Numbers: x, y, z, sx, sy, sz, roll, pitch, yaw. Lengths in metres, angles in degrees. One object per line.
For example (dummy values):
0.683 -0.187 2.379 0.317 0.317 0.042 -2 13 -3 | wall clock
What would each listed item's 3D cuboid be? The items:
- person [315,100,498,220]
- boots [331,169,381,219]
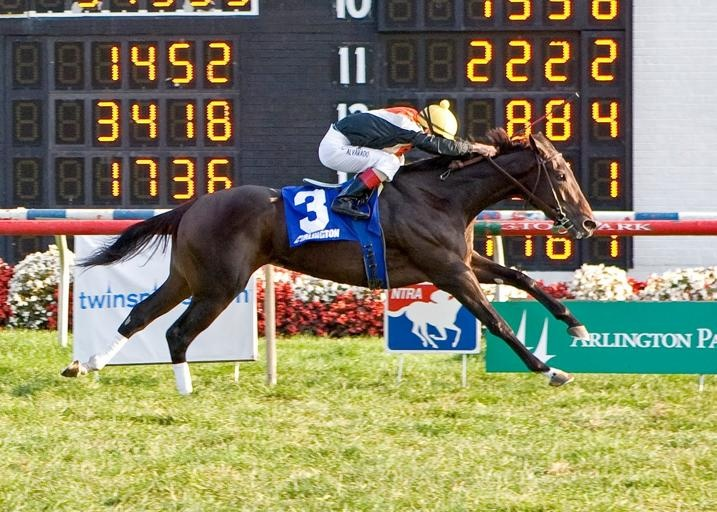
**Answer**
0.404 -0.740 10.792 1.452 0.665 0.660 -3 13 2 | person
-0.016 -0.434 10.424 0.356 0.361 0.111 -1 1 -6 | boots
